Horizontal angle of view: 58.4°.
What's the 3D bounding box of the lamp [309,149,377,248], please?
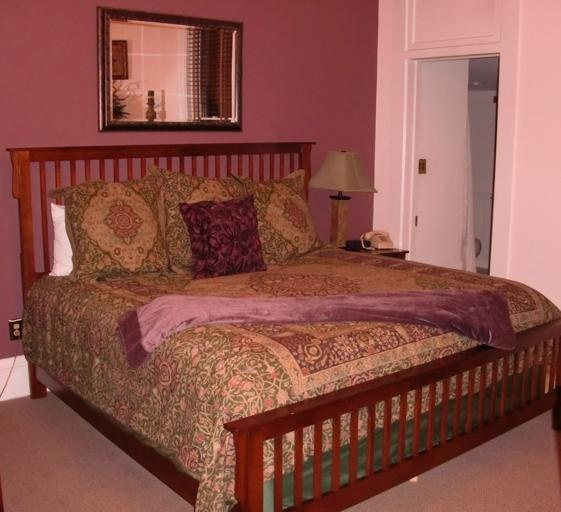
[{"bbox_3d":[0.401,-0.378,3.577,0.414,0.557,0.439,14,14,12],"label":"lamp"}]
